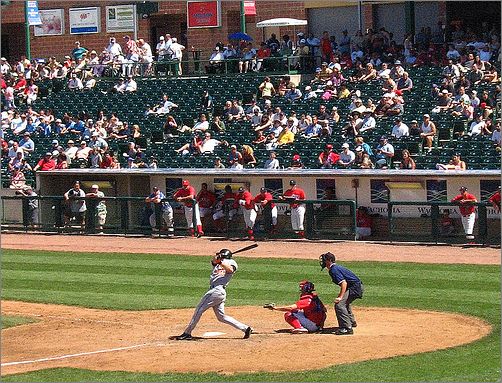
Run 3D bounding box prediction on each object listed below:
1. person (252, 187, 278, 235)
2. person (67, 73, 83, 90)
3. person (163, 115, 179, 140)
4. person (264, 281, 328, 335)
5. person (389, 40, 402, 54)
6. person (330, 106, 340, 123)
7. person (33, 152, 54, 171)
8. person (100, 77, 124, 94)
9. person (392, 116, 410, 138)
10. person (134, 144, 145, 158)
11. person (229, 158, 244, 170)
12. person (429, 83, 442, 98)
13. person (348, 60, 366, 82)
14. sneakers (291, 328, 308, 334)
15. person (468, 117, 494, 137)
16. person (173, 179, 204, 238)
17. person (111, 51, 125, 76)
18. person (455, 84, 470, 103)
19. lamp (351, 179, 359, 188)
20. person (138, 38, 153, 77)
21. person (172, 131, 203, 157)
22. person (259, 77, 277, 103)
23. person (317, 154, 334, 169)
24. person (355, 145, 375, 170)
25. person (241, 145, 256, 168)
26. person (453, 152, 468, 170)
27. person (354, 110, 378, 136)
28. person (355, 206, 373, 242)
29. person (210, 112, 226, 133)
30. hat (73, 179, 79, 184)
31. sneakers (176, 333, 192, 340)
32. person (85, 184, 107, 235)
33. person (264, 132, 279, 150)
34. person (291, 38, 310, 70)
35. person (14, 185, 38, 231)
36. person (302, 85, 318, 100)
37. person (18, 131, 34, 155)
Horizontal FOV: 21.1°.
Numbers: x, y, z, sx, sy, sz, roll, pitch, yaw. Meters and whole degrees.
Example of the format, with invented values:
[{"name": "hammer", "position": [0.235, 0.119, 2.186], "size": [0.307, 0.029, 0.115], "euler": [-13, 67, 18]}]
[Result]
[{"name": "person", "position": [0.622, 0.606, 49.045], "size": [0.837, 1.601, 0.389], "euler": [0, 10, 8]}, {"name": "person", "position": [-7.920, -4.849, 60.805], "size": [0.774, 0.997, 0.625], "euler": [-1, -22, -18]}, {"name": "person", "position": [-3.261, -2.664, 55.161], "size": [0.801, 1.361, 0.737], "euler": [-3, 2, -6]}, {"name": "person", "position": [1.381, 3.218, 39.009], "size": [1.811, 1.514, 0.843], "euler": [0, -5, -5]}, {"name": "person", "position": [6.042, -5.966, 55.847], "size": [0.453, 0.353, 0.707], "euler": [3, 16, 9]}, {"name": "person", "position": [3.383, -3.061, 52.984], "size": [0.493, 0.758, 0.500], "euler": [1, 4, 5]}, {"name": "person", "position": [-8.149, -1.275, 53.318], "size": [0.851, 0.630, 0.838], "euler": [0, 10, 8]}, {"name": "person", "position": [-6.103, -4.683, 59.598], "size": [1.060, 0.626, 0.552], "euler": [-9, 8, -3]}, {"name": "person", "position": [5.727, -2.448, 50.806], "size": [0.701, 0.726, 0.605], "euler": [0, 10, 6]}, {"name": "person", "position": [-4.474, -1.662, 54.063], "size": [0.492, 0.483, 0.977], "euler": [-2, 10, -5]}, {"name": "person", "position": [-0.600, -1.146, 51.587], "size": [0.431, 0.314, 0.839], "euler": [-11, 14, -41]}, {"name": "person", "position": [7.277, -3.941, 52.519], "size": [0.397, 1.057, 0.344], "euler": [8, 37, 16]}, {"name": "person", "position": [4.420, -4.900, 55.384], "size": [0.641, 0.949, 0.925], "euler": [-2, -4, 42]}, {"name": "sneakers", "position": [1.429, 3.835, 38.756], "size": [0.433, 0.162, 0.220], "euler": [1, 8, 5]}, {"name": "person", "position": [8.649, -2.408, 50.032], "size": [0.913, 0.610, 0.528], "euler": [2, 11, 19]}, {"name": "person", "position": [-2.310, 0.532, 49.888], "size": [0.995, 1.977, 0.844], "euler": [-2, 10, -2]}, {"name": "person", "position": [-6.003, -5.704, 60.623], "size": [0.704, 0.641, 1.782], "euler": [-11, 20, -4]}, {"name": "person", "position": [8.168, -3.757, 51.407], "size": [0.712, 0.721, 0.420], "euler": [-2, -5, 32]}, {"name": "lamp", "position": [3.838, -0.394, 48.551], "size": [0.234, 0.446, 0.316], "euler": [-1, 6, -10]}, {"name": "person", "position": [-4.720, -6.054, 60.622], "size": [0.587, 1.485, 1.819], "euler": [-2, 10, -5]}, {"name": "person", "position": [-2.471, -1.922, 54.080], "size": [1.046, 0.756, 1.010], "euler": [-2, 10, -2]}, {"name": "person", "position": [0.726, -4.307, 56.042], "size": [0.823, 0.831, 1.300], "euler": [-2, 35, 3]}, {"name": "person", "position": [2.885, -1.223, 50.729], "size": [0.511, 0.791, 0.442], "euler": [0, -10, 10]}, {"name": "person", "position": [4.253, -1.343, 49.799], "size": [0.700, 0.784, 0.646], "euler": [0, 10, 8]}, {"name": "person", "position": [-0.015, -1.451, 51.827], "size": [0.559, 0.809, 0.766], "euler": [-1, 10, 1]}, {"name": "person", "position": [7.605, -1.145, 48.530], "size": [0.492, 0.571, 1.608], "euler": [0, 10, 9]}, {"name": "person", "position": [4.468, -2.643, 51.769], "size": [0.677, 1.021, 0.600], "euler": [-9, -33, 43]}, {"name": "person", "position": [4.053, 1.034, 48.169], "size": [0.578, 1.080, 0.445], "euler": [-3, 10, -9]}, {"name": "person", "position": [-1.311, -2.814, 55.050], "size": [0.563, 0.587, 1.139], "euler": [-3, 10, -8]}, {"name": "hat", "position": [-6.736, -0.452, 51.889], "size": [0.237, 0.166, 0.104], "euler": [-4, -9, 37]}, {"name": "sneakers", "position": [-1.877, 4.005, 38.542], "size": [0.486, 0.215, 0.167], "euler": [5, -1, 0]}, {"name": "person", "position": [-5.832, 0.534, 50.831], "size": [0.709, 1.726, 0.657], "euler": [-4, 10, -13]}, {"name": "person", "position": [0.848, -1.996, 52.568], "size": [0.503, 0.593, 0.858], "euler": [-1, 10, 0]}, {"name": "person", "position": [2.172, -5.854, 57.915], "size": [0.833, 1.144, 1.257], "euler": [-1, 10, 3]}, {"name": "person", "position": [-8.507, 0.544, 51.655], "size": [0.635, 1.410, 1.077], "euler": [-4, 10, -12]}, {"name": "person", "position": [2.464, -3.966, 55.004], "size": [0.708, 0.711, 0.465], "euler": [-3, -7, 3]}, {"name": "person", "position": [-9.506, -2.081, 56.868], "size": [0.965, 0.942, 0.568], "euler": [4, -3, 12]}]
